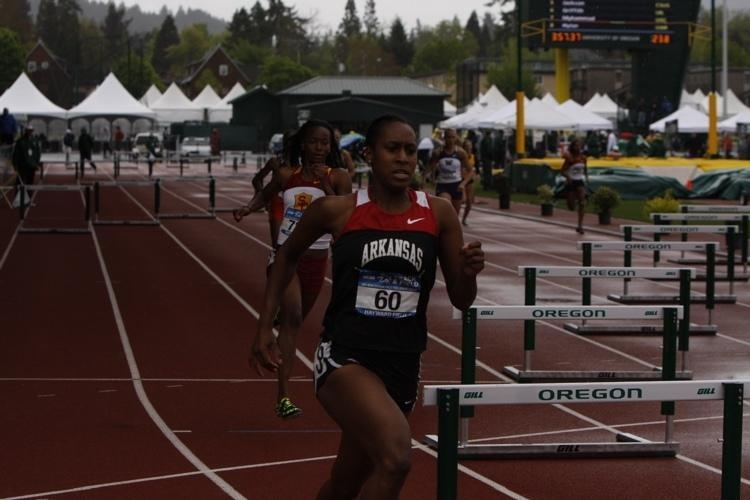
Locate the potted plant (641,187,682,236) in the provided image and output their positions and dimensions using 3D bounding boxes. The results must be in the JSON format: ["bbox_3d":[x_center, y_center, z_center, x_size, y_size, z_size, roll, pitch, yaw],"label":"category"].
[{"bbox_3d":[7.318,-0.999,21.371,0.729,1.627,1.307,-4,-1,4],"label":"potted plant"}]

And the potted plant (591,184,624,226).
[{"bbox_3d":[6.729,-1.284,24.463,0.956,1.167,0.981,2,2,12],"label":"potted plant"}]
